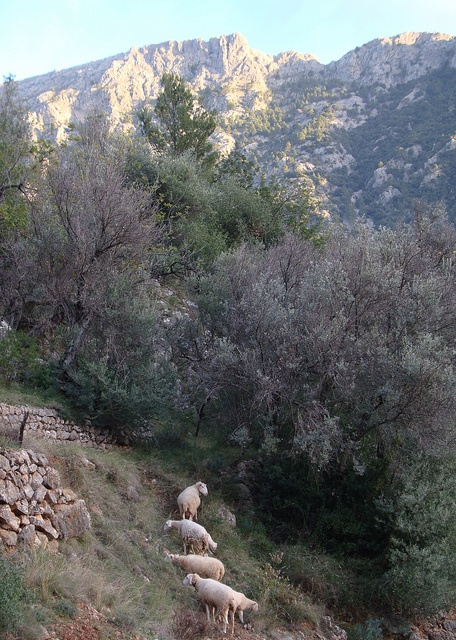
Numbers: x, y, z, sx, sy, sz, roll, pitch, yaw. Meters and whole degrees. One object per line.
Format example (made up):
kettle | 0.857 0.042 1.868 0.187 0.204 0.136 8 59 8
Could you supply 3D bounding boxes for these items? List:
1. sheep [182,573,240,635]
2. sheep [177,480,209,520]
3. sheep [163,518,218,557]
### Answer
sheep | -0.247 4.180 8.556 0.787 0.830 0.459 9 -1 26
sheep | -0.686 3.451 11.018 0.378 0.530 0.869 8 17 12
sheep | -0.680 3.778 10.141 0.909 0.596 0.775 10 -1 2
